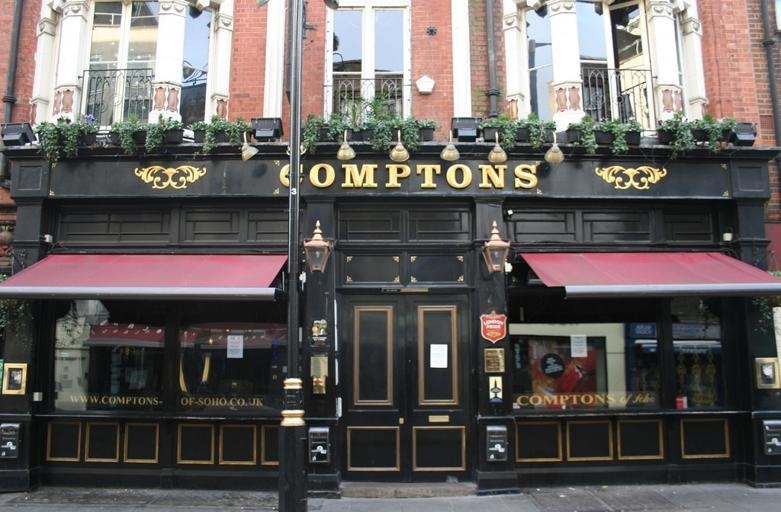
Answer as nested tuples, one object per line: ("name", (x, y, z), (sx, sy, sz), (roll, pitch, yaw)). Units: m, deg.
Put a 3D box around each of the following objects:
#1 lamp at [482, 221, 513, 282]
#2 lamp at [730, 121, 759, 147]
("lamp", (2.176, -0.138, 20.449), (0.540, 1.013, 0.581), (-1, -5, 2))
("lamp", (7.491, -2.524, 21.039), (0.614, 0.459, 0.478), (3, -25, 4))
